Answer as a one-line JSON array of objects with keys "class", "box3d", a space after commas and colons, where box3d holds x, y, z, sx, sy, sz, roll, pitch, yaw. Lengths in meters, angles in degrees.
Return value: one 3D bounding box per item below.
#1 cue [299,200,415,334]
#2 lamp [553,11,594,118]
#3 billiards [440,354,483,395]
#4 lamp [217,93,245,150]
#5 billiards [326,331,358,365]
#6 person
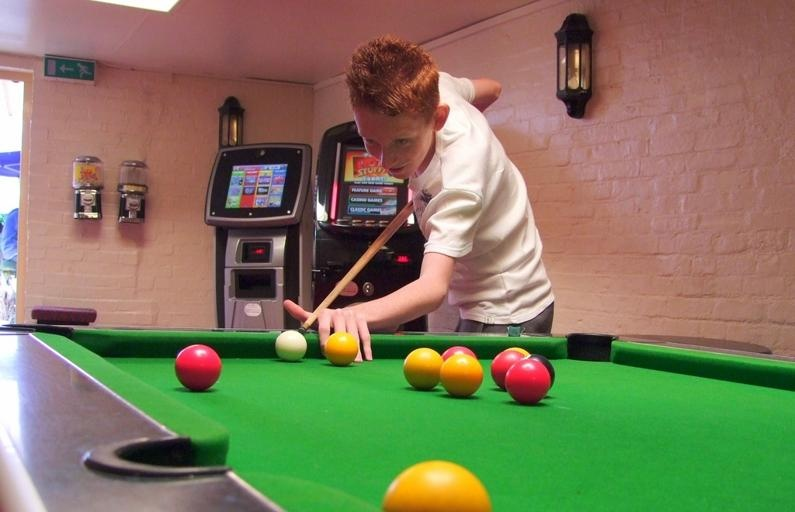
[{"class": "cue", "box3d": [-0.213, 0.035, 3.713, 1.348, 0.136, 0.066, -45, 24, -20]}, {"class": "lamp", "box3d": [1.163, -1.241, 3.975, 0.205, 0.700, 0.240, 0, -1, 31]}, {"class": "billiards", "box3d": [0.188, 0.348, 1.835, 0.125, 0.113, 0.119, -4, 7, -40]}, {"class": "lamp", "box3d": [-1.540, -1.244, 5.695, 0.231, 0.469, 0.213, 2, 10, -18]}, {"class": "billiards", "box3d": [-0.194, 0.330, 2.155, 0.125, 0.115, 0.119, 3, 8, 14]}, {"class": "person", "box3d": [0.187, -0.219, 2.472, 1.084, 1.198, 0.436, -4, 13, -44]}]
